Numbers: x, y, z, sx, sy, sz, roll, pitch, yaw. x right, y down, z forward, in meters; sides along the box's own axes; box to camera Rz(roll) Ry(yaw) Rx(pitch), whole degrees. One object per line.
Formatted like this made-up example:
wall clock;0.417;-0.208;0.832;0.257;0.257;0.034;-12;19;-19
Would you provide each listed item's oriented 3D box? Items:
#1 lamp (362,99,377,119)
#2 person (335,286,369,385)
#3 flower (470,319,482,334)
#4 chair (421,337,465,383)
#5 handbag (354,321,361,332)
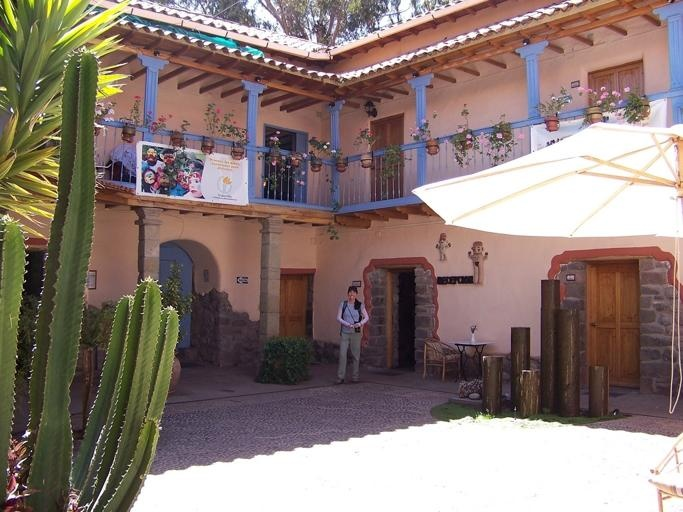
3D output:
lamp;0.607;-3.155;14.397;0.304;0.439;0.280;-3;8;-38
person;0.153;1.285;11.011;0.498;1.565;0.684;0;-1;-1
flower;2.307;1.261;11.916;0.178;0.250;0.192;1;-4;35
chair;1.647;1.823;12.015;0.420;0.651;0.501;3;0;12
handbag;0.246;1.130;10.777;0.100;0.153;0.134;-1;-3;-2
